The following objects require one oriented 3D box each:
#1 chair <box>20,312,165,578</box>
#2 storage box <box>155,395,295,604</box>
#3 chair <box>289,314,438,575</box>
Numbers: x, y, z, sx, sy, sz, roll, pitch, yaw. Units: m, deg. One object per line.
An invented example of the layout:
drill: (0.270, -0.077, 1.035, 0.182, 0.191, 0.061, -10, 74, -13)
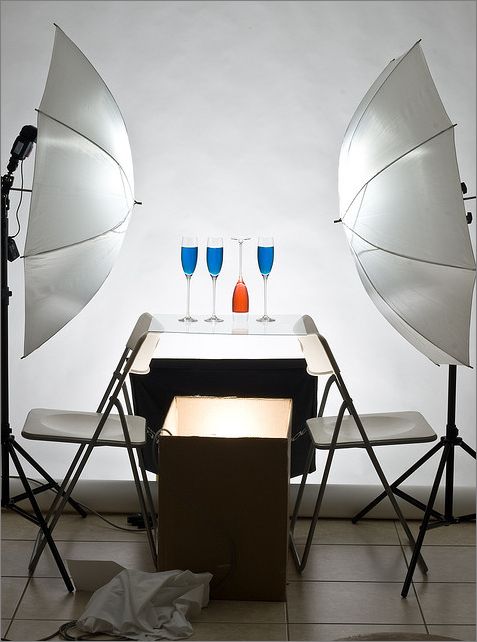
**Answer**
chair: (-0.520, 0.481, 2.115, 0.422, 1.209, 0.478, 3, 2, -12)
storage box: (-0.030, 0.566, 2.019, 0.413, 0.544, 0.513, 1, 4, 6)
chair: (0.428, 0.410, 2.085, 0.478, 0.859, 0.556, 0, 3, -4)
